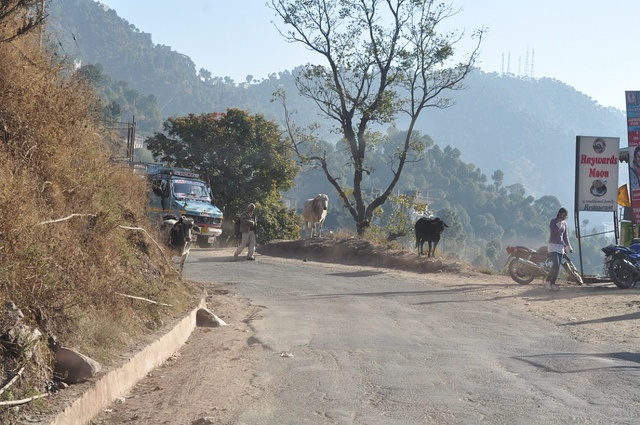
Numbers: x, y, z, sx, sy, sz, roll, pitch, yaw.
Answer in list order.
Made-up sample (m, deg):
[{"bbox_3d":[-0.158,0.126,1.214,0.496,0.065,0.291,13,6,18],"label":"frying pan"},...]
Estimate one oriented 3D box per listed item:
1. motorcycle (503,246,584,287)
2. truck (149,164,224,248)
[{"bbox_3d":[7.147,1.699,19.474,2.435,1.720,1.237,3,-6,-17],"label":"motorcycle"},{"bbox_3d":[-6.150,-0.502,25.997,2.765,2.911,4.296,3,1,-32],"label":"truck"}]
